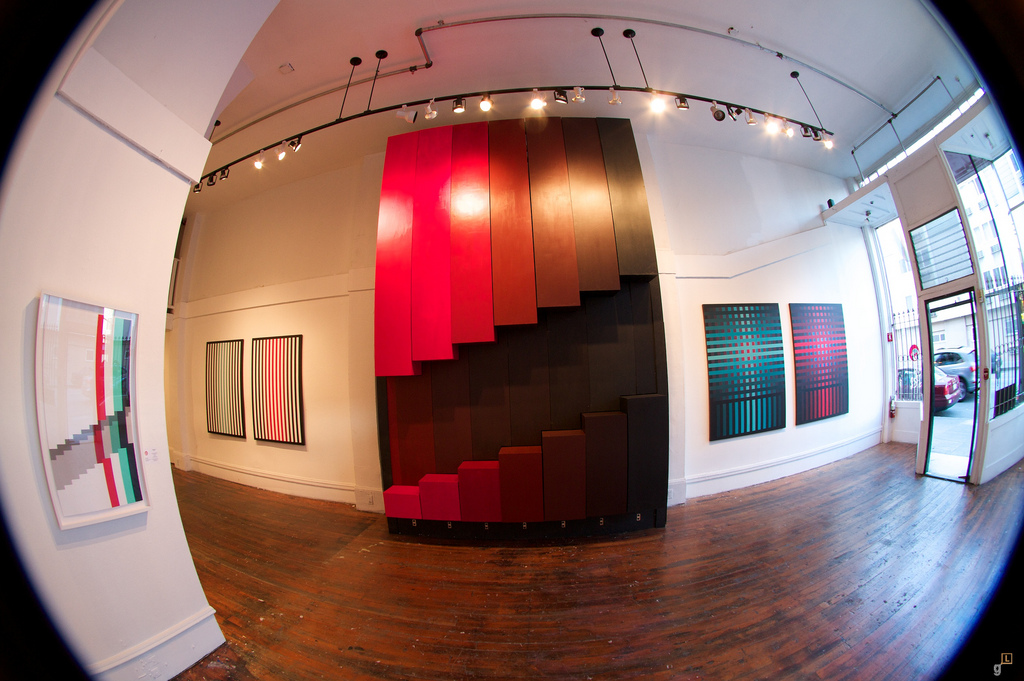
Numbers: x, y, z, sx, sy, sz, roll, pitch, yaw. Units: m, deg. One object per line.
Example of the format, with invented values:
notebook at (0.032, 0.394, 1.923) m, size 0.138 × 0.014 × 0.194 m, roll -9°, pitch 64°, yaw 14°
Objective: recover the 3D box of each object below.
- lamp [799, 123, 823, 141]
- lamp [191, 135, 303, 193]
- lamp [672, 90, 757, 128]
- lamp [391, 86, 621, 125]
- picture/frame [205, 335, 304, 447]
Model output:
lamp at (3.361, -2.303, 6.473) m, size 0.153 × 0.091 × 0.217 m, roll -4°, pitch -22°, yaw 22°
lamp at (-3.147, -2.101, 6.892) m, size 1.847 × 0.226 × 0.454 m, roll -6°, pitch -1°, yaw 22°
lamp at (2.217, -2.574, 6.351) m, size 0.844 × 0.292 × 0.199 m, roll 9°, pitch 4°, yaw 1°
lamp at (-0.097, -2.537, 6.240) m, size 2.496 × 0.278 × 0.528 m, roll -6°, pitch -1°, yaw 4°
picture/frame at (-3.221, 0.638, 7.301) m, size 1.329 × 1.123 × 0.025 m, roll -1°, pitch 0°, yaw 26°
